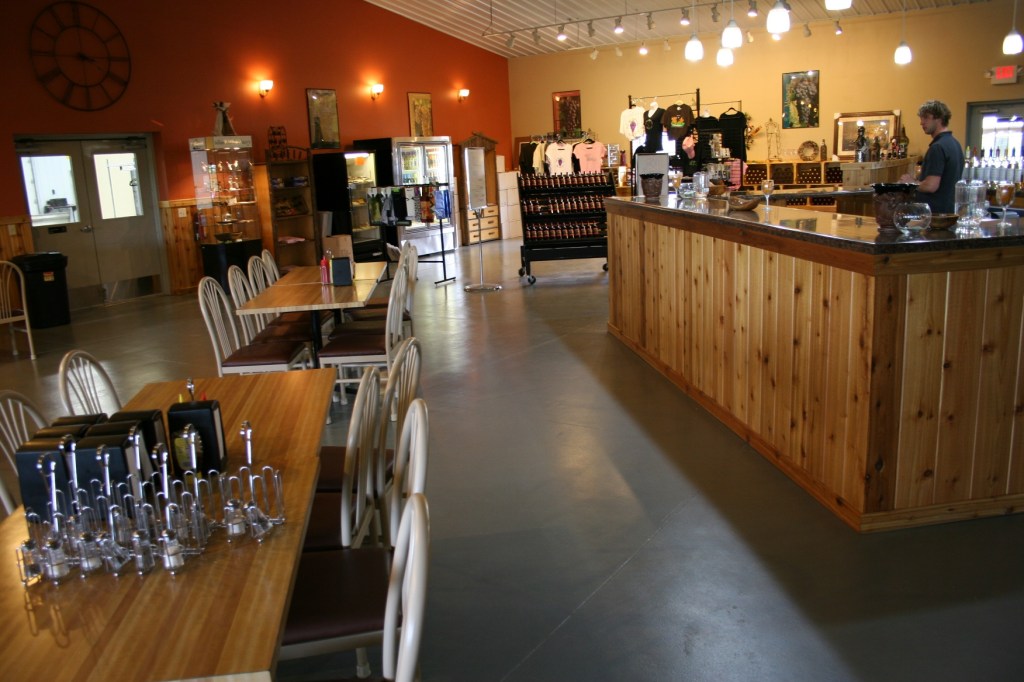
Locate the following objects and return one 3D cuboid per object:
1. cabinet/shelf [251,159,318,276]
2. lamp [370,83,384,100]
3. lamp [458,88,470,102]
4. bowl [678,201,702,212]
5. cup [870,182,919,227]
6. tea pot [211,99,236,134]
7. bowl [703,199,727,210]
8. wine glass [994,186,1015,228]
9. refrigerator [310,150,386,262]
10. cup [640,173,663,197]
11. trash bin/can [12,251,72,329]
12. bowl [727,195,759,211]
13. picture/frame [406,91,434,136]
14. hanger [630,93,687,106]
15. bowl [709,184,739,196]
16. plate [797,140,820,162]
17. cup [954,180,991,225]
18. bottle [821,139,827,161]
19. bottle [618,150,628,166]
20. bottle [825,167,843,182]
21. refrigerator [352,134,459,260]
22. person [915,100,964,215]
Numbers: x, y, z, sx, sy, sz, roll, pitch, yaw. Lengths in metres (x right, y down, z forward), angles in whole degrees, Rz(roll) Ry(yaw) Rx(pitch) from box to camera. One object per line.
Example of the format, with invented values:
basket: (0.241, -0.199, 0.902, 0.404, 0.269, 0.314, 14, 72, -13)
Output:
cabinet/shelf: (-3.723, -2.057, 11.431, 0.617, 1.632, 0.382, -19, 38, -38)
lamp: (-2.632, -4.857, 13.395, 0.262, 0.341, 0.281, -2, 10, -9)
lamp: (-1.085, -5.498, 15.416, 0.258, 0.360, 0.255, -3, 10, -12)
bowl: (1.475, -1.117, 5.714, 0.191, 0.057, 0.220, 2, 15, 13)
cup: (2.089, -0.751, 3.765, 0.228, 0.284, 0.253, -1, 10, 3)
tea pot: (-4.452, -3.427, 10.570, 0.280, 0.515, 0.718, -7, 15, -22)
bowl: (1.697, -1.144, 5.769, 0.172, 0.047, 0.199, 5, 18, 25)
wine glass: (2.860, -0.808, 3.995, 0.085, 0.226, 0.616, 8, 18, 36)
refrigerator: (-2.679, -2.304, 11.945, 0.545, 1.917, 0.860, 2, 11, 35)
cup: (1.314, -1.481, 6.561, 0.227, 0.222, 0.210, -2, 14, 0)
trash bin/can: (-6.073, -0.686, 8.927, 0.587, 0.952, 0.527, 12, 17, 39)
bowl: (1.770, -1.060, 5.298, 0.217, 0.095, 0.163, 0, 15, 9)
picture/frame: (-1.912, -4.697, 14.338, 0.037, 0.908, 0.861, 5, 16, 26)
hanger: (3.300, -5.308, 15.087, 1.304, 0.272, 0.346, 1, 15, 12)
bowl: (1.979, -1.425, 6.477, 0.201, 0.070, 0.215, -1, 14, 0)
plate: (6.001, -3.884, 13.952, 0.385, 0.393, 0.148, 1, 13, 11)
cup: (2.608, -0.785, 3.923, 0.154, 0.226, 0.251, 7, 17, 32)
bottle: (6.270, -3.862, 13.841, 0.109, 0.373, 0.109, -2, 13, 0)
bottle: (2.465, -4.041, 15.156, 0.192, 0.308, 0.617, 1, 15, 14)
bottle: (6.293, -3.287, 13.544, 0.311, 0.361, 0.329, -5, 12, -9)
refrigerator: (-1.954, -2.563, 12.086, 0.915, 2.811, 2.603, 1, 15, 20)
person: (3.644, -1.590, 5.900, 0.365, 0.924, 0.880, 6, 16, 31)
